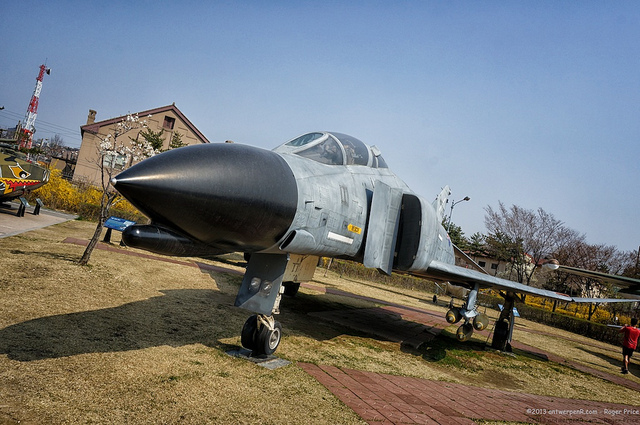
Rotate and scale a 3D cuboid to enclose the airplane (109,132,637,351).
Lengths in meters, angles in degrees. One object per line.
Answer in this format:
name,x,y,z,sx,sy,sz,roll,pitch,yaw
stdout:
airplane,0.678,0.649,8.076,9.802,4.212,2.556,10,0,-33
